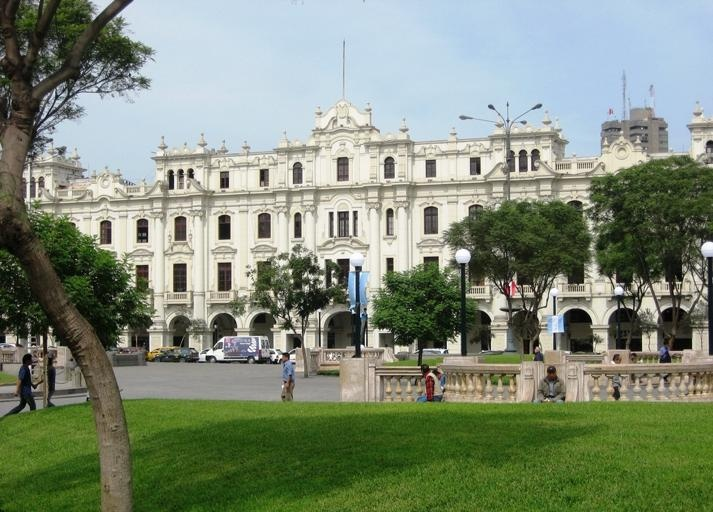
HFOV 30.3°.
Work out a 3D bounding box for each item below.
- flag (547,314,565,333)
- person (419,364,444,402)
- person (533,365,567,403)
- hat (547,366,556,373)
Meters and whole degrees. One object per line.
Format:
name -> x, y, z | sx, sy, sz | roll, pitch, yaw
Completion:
flag -> 9.608, 3.257, 62.086 | 1.085, 1.074, 1.098 | 0, -1, 0
person -> 2.445, 4.107, 42.587 | 0.728, 1.174, 1.105 | 3, 6, 44
person -> 5.922, 3.974, 40.101 | 1.144, 1.231, 1.130 | 0, 2, -36
hat -> 5.988, 3.463, 40.267 | 0.273, 0.218, 0.290 | 0, -6, -4
